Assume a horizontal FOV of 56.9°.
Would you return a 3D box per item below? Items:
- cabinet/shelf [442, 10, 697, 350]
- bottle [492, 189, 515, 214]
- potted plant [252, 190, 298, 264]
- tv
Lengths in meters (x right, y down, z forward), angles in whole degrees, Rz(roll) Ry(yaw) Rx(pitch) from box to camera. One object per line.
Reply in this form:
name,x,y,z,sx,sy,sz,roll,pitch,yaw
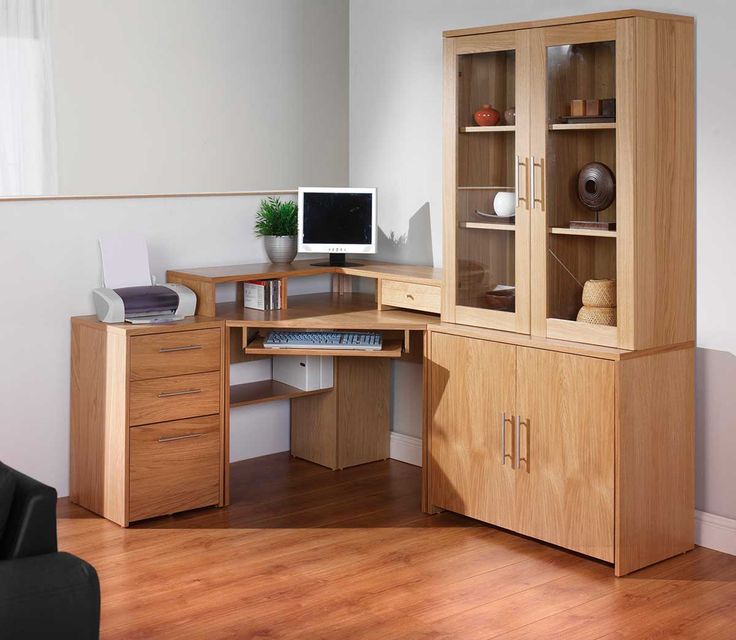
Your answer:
cabinet/shelf,0.795,-0.596,2.897,1.033,1.378,0.397,4,8,33
bottle,0.595,-0.525,3.006,0.106,0.090,0.103,-11,14,-42
potted plant,-0.534,-0.525,3.921,0.360,0.359,0.375,-1,3,-19
tv,-0.179,-0.544,3.855,0.558,0.478,0.180,0,3,-3
